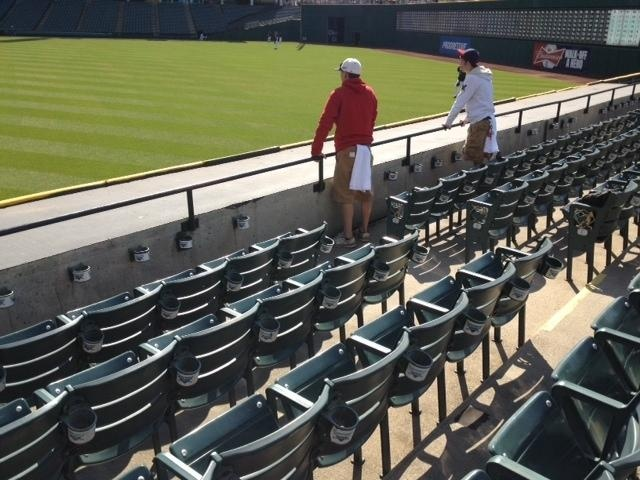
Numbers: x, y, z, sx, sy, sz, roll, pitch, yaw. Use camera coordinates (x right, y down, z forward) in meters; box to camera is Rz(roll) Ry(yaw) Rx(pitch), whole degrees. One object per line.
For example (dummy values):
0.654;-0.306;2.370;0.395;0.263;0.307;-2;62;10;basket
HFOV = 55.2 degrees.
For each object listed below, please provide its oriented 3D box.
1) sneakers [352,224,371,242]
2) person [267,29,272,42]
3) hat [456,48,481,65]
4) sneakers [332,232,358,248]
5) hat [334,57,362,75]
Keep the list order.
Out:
0.491;-0.083;7.648;0.126;0.128;0.274;-14;25;-28;sneakers
-3.608;-14.647;44.066;0.520;1.069;0.245;0;-18;3;person
1.993;-2.458;8.197;0.240;0.206;0.568;4;25;9;hat
0.298;-0.006;7.398;0.279;0.134;0.125;16;26;34;sneakers
0.362;-2.020;7.145;0.215;0.238;0.698;2;24;5;hat
